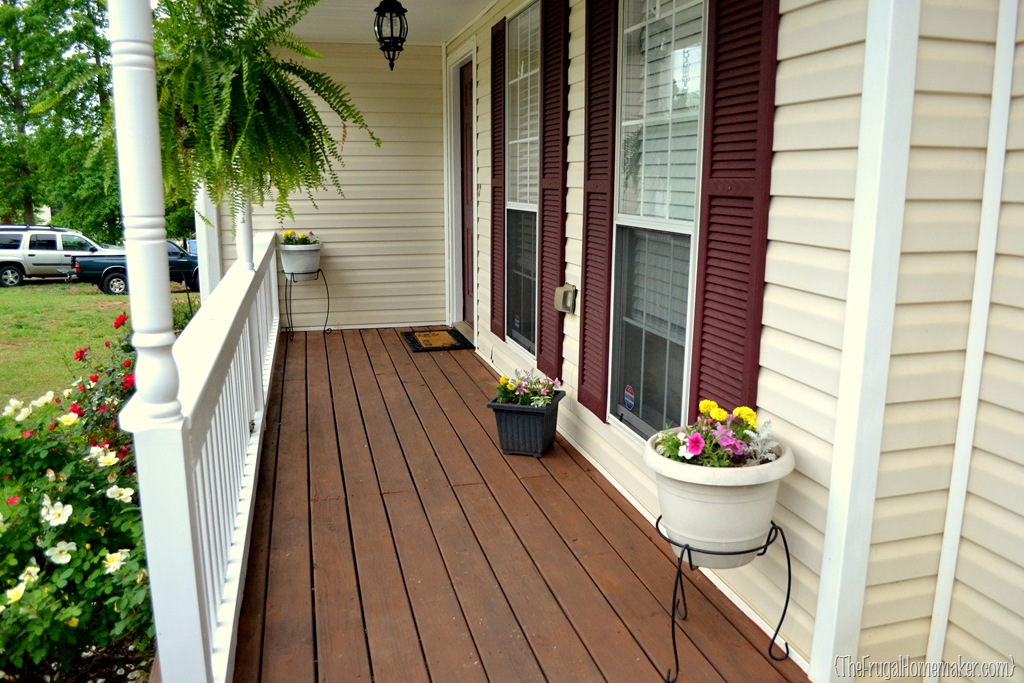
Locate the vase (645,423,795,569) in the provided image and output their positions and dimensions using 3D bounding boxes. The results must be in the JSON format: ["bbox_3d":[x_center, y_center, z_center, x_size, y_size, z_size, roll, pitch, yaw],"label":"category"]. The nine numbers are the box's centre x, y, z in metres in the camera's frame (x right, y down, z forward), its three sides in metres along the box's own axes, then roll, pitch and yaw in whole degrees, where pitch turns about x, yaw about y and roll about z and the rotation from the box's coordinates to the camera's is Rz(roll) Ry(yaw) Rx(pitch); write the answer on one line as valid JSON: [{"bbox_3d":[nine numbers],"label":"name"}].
[{"bbox_3d":[0.830,0.657,3.012,0.493,0.386,0.516,-1,6,-2],"label":"vase"}]

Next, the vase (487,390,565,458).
[{"bbox_3d":[0.111,0.546,4.695,0.429,0.339,0.395,3,9,27],"label":"vase"}]

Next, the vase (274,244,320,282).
[{"bbox_3d":[-2.207,-0.812,7.352,0.358,0.291,0.378,1,5,-1],"label":"vase"}]

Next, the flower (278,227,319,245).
[{"bbox_3d":[-2.228,-1.113,7.416,0.407,0.157,0.493,-6,14,-16],"label":"flower"}]

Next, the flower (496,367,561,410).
[{"bbox_3d":[0.089,0.312,4.650,0.276,0.101,0.282,-5,13,-25],"label":"flower"}]

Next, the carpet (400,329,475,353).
[{"bbox_3d":[-0.808,-0.027,7.378,0.623,0.049,0.923,-7,14,-19],"label":"carpet"}]
